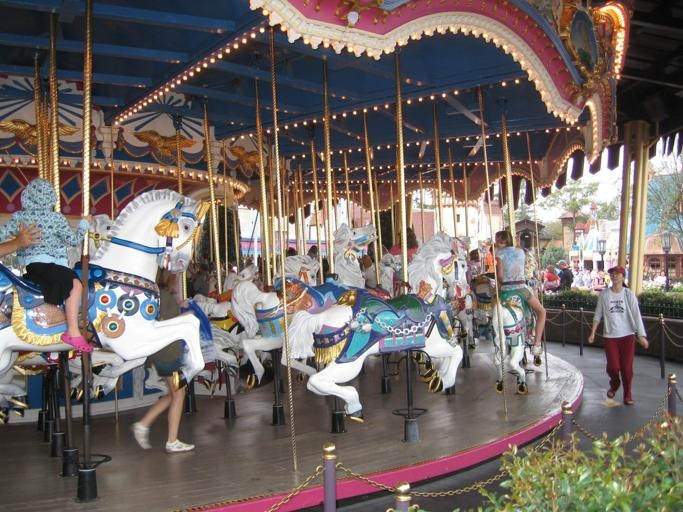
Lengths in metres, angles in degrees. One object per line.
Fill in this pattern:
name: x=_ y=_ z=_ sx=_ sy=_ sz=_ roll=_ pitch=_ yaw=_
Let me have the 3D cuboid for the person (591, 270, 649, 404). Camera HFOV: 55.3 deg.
person: x=3.878 y=1.066 z=9.127 sx=0.722 sy=1.870 sz=0.630 roll=-2 pitch=-3 yaw=25

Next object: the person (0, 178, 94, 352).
person: x=-2.608 y=0.071 z=5.814 sx=0.883 sy=1.528 sz=0.513 roll=-1 pitch=-3 yaw=-1

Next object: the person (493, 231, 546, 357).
person: x=2.513 y=0.529 z=9.308 sx=0.544 sy=1.845 sz=1.456 roll=-2 pitch=-3 yaw=31

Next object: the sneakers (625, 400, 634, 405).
sneakers: x=3.885 y=1.963 z=8.788 sx=0.121 sy=0.050 sz=0.099 roll=-1 pitch=-2 yaw=7

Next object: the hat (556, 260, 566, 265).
hat: x=8.374 y=0.231 z=24.888 sx=0.411 sy=0.153 sz=0.434 roll=-1 pitch=-1 yaw=1

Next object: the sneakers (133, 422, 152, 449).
sneakers: x=-2.042 y=1.839 z=6.680 sx=0.119 sy=0.278 sz=0.092 roll=-21 pitch=6 yaw=10

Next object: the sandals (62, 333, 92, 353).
sandals: x=-2.289 y=0.741 z=5.696 sx=0.316 sy=0.124 sz=0.134 roll=20 pitch=2 yaw=27

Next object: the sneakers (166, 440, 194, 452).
sneakers: x=-1.625 y=1.911 z=6.607 sx=0.289 sy=0.140 sz=0.110 roll=0 pitch=0 yaw=-13

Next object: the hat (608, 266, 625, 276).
hat: x=3.851 y=0.180 z=9.122 sx=0.258 sy=0.143 sz=0.175 roll=25 pitch=-24 yaw=-39
